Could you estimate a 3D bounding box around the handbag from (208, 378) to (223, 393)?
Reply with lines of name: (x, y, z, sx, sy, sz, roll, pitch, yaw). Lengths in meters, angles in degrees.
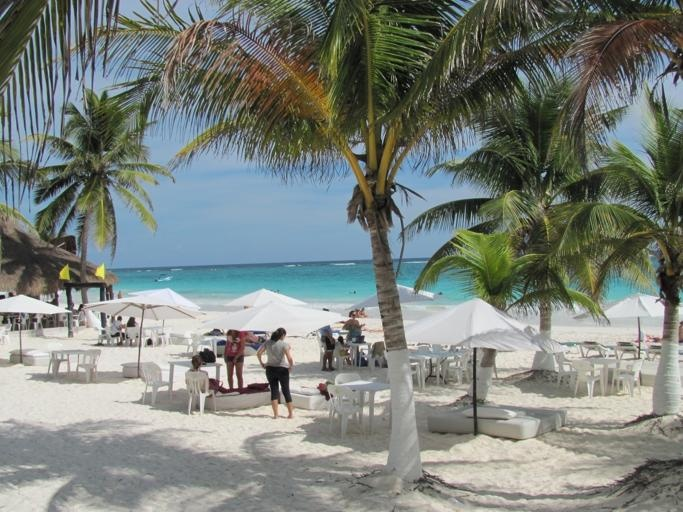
handbag: (-2.626, 2.659, 14.659, 0.208, 0.138, 0.333, -6, 31, -17)

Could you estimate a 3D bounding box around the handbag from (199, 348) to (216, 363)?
handbag: (-3.006, 2.245, 15.917, 0.221, 0.276, 0.403, 1, 3, -1)

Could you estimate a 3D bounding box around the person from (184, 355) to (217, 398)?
person: (-2.848, 2.276, 14.606, 0.622, 1.148, 0.838, 3, 17, 1)

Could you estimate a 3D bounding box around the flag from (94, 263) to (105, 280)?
flag: (-10.246, 0.623, 29.960, 0.393, 0.651, 2.682, 1, -8, -19)

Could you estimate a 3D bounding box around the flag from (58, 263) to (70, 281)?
flag: (-11.247, 0.670, 28.557, 0.596, 0.861, 0.062, 3, 7, 25)

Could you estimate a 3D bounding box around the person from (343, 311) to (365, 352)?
person: (0.336, 2.168, 20.609, 0.416, 1.193, 0.443, -6, 29, -14)
